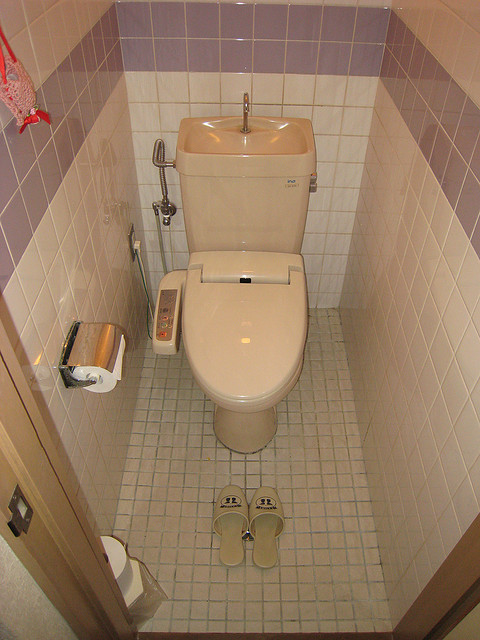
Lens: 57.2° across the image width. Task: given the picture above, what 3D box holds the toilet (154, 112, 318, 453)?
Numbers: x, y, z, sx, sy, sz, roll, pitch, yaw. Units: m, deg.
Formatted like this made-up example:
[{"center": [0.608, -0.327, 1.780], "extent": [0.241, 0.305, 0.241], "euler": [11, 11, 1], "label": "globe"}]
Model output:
[{"center": [-0.016, -0.138, 1.565], "extent": [0.458, 1.071, 0.975], "euler": [0, 57, 1], "label": "toilet"}]

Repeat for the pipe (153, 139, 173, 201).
[{"center": [-0.295, -0.580, 1.683], "extent": [0.066, 0.206, 0.196], "euler": [-2, 74, 0], "label": "pipe"}]

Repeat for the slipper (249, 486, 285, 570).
[{"center": [0.090, 0.675, 1.460], "extent": [0.119, 0.082, 0.256], "euler": [-2, 48, 1], "label": "slipper"}]

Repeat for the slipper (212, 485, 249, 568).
[{"center": [-0.029, 0.669, 1.450], "extent": [0.103, 0.089, 0.300], "euler": [4, 21, -4], "label": "slipper"}]

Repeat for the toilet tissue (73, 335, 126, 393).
[{"center": [-0.300, 0.087, 0.977], "extent": [0.098, 0.100, 0.116], "euler": [6, 44, 2], "label": "toilet tissue"}]
